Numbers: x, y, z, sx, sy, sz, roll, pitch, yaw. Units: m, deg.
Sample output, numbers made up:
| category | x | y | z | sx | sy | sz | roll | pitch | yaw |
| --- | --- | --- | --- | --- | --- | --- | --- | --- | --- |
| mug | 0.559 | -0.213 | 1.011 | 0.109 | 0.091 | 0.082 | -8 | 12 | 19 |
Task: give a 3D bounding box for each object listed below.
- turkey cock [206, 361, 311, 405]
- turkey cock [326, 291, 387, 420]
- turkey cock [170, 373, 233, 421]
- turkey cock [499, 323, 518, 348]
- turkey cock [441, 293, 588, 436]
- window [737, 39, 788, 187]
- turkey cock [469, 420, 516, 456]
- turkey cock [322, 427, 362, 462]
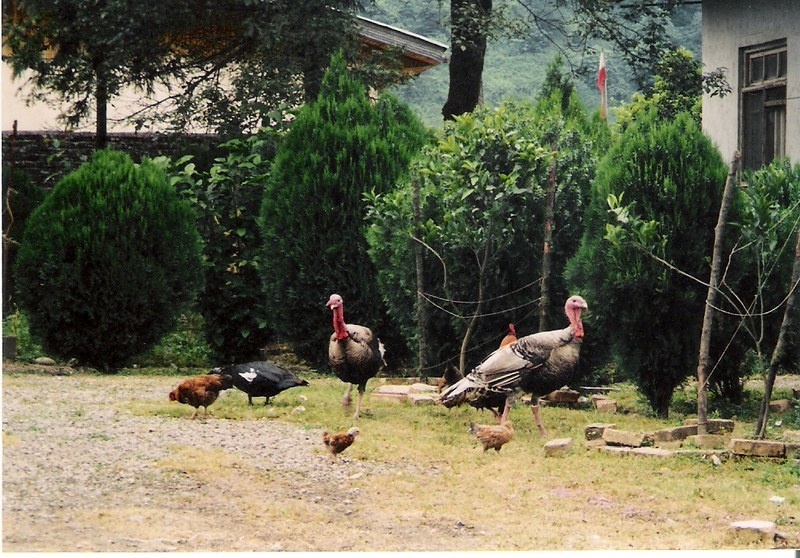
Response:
| category | x | y | z | sx | sy | sz | roll | pitch | yaw |
| --- | --- | --- | --- | --- | --- | --- | --- | --- | --- |
| turkey cock | -2.157 | 1.650 | 21.254 | 1.453 | 0.674 | 0.642 | 3 | -9 | 5 |
| turkey cock | -0.635 | 1.161 | 20.946 | 0.840 | 1.845 | 0.584 | -2 | 11 | -16 |
| turkey cock | -2.956 | 1.717 | 20.604 | 0.982 | 0.681 | 0.482 | -1 | -13 | -12 |
| turkey cock | 1.778 | 0.886 | 21.840 | 0.314 | 0.404 | 0.360 | 3 | 6 | 13 |
| turkey cock | 1.860 | 1.304 | 21.309 | 1.809 | 1.598 | 0.630 | -2 | -15 | 3 |
| window | 6.681 | -3.172 | 25.223 | 0.368 | 2.361 | 1.284 | -2 | 11 | -19 |
| turkey cock | 1.384 | 2.212 | 19.732 | 0.568 | 0.595 | 0.362 | -2 | -7 | -2 |
| turkey cock | -0.808 | 2.301 | 19.539 | 0.563 | 0.490 | 0.297 | 2 | -2 | 1 |
